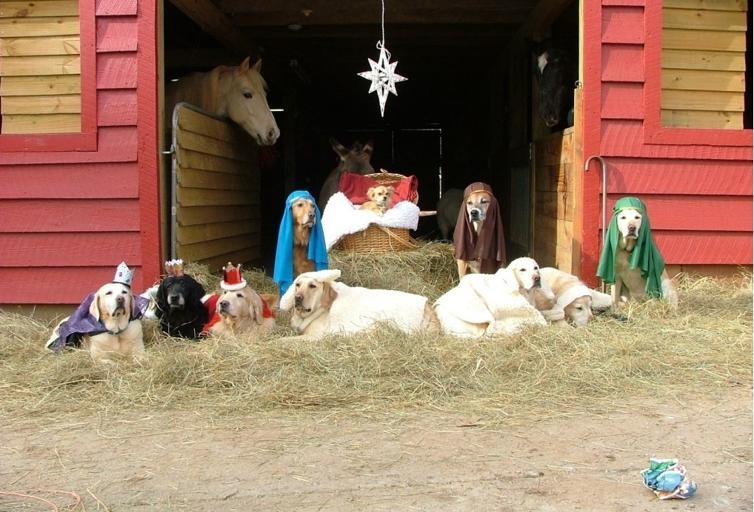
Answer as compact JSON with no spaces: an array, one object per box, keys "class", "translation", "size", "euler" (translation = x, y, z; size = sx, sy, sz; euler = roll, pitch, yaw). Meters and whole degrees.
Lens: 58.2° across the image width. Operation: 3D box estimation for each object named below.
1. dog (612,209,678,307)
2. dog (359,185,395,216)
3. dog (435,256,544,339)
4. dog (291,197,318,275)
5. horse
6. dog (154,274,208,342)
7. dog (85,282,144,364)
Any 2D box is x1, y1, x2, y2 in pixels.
[{"class":"dog","translation":[2.593,0.014,6.580],"size":[0.618,0.943,0.348],"euler":[1,0,-14]},{"class":"dog","translation":[-0.015,-0.680,8.283],"size":[0.404,0.334,0.322],"euler":[2,1,11]},{"class":"dog","translation":[0.932,0.311,6.179],"size":[1.101,0.448,0.809],"euler":[-8,30,-13]},{"class":"dog","translation":[-0.744,-0.197,6.914],"size":[0.257,0.789,0.170],"euler":[1,0,-7]},{"class":"horse","translation":[-2.287,-1.974,9.466],"size":[0.774,1.438,2.786],"euler":[-17,23,-36]},{"class":"dog","translation":[-1.783,0.361,6.287],"size":[0.459,0.528,0.734],"euler":[2,20,-8]},{"class":"dog","translation":[-2.342,0.586,5.973],"size":[0.535,0.655,0.883],"euler":[-3,0,-25]}]
